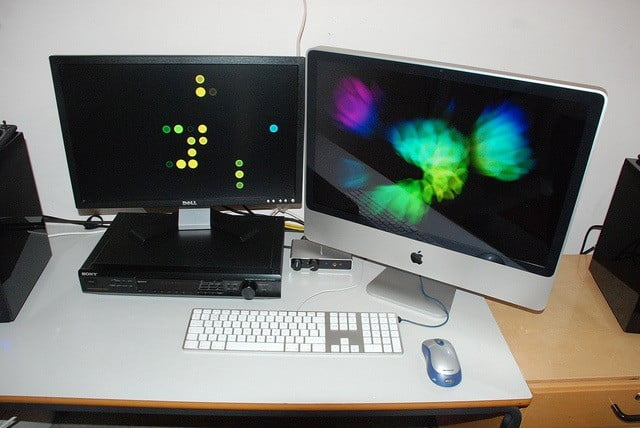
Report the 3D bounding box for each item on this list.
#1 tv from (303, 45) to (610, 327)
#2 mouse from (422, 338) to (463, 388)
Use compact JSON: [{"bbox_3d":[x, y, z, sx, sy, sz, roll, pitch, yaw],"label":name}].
[{"bbox_3d":[0.381,-0.074,1.552,0.755,0.718,0.244,21,38,16],"label":"tv"},{"bbox_3d":[0.366,0.428,1.503,0.102,0.058,0.170,-2,30,0],"label":"mouse"}]
